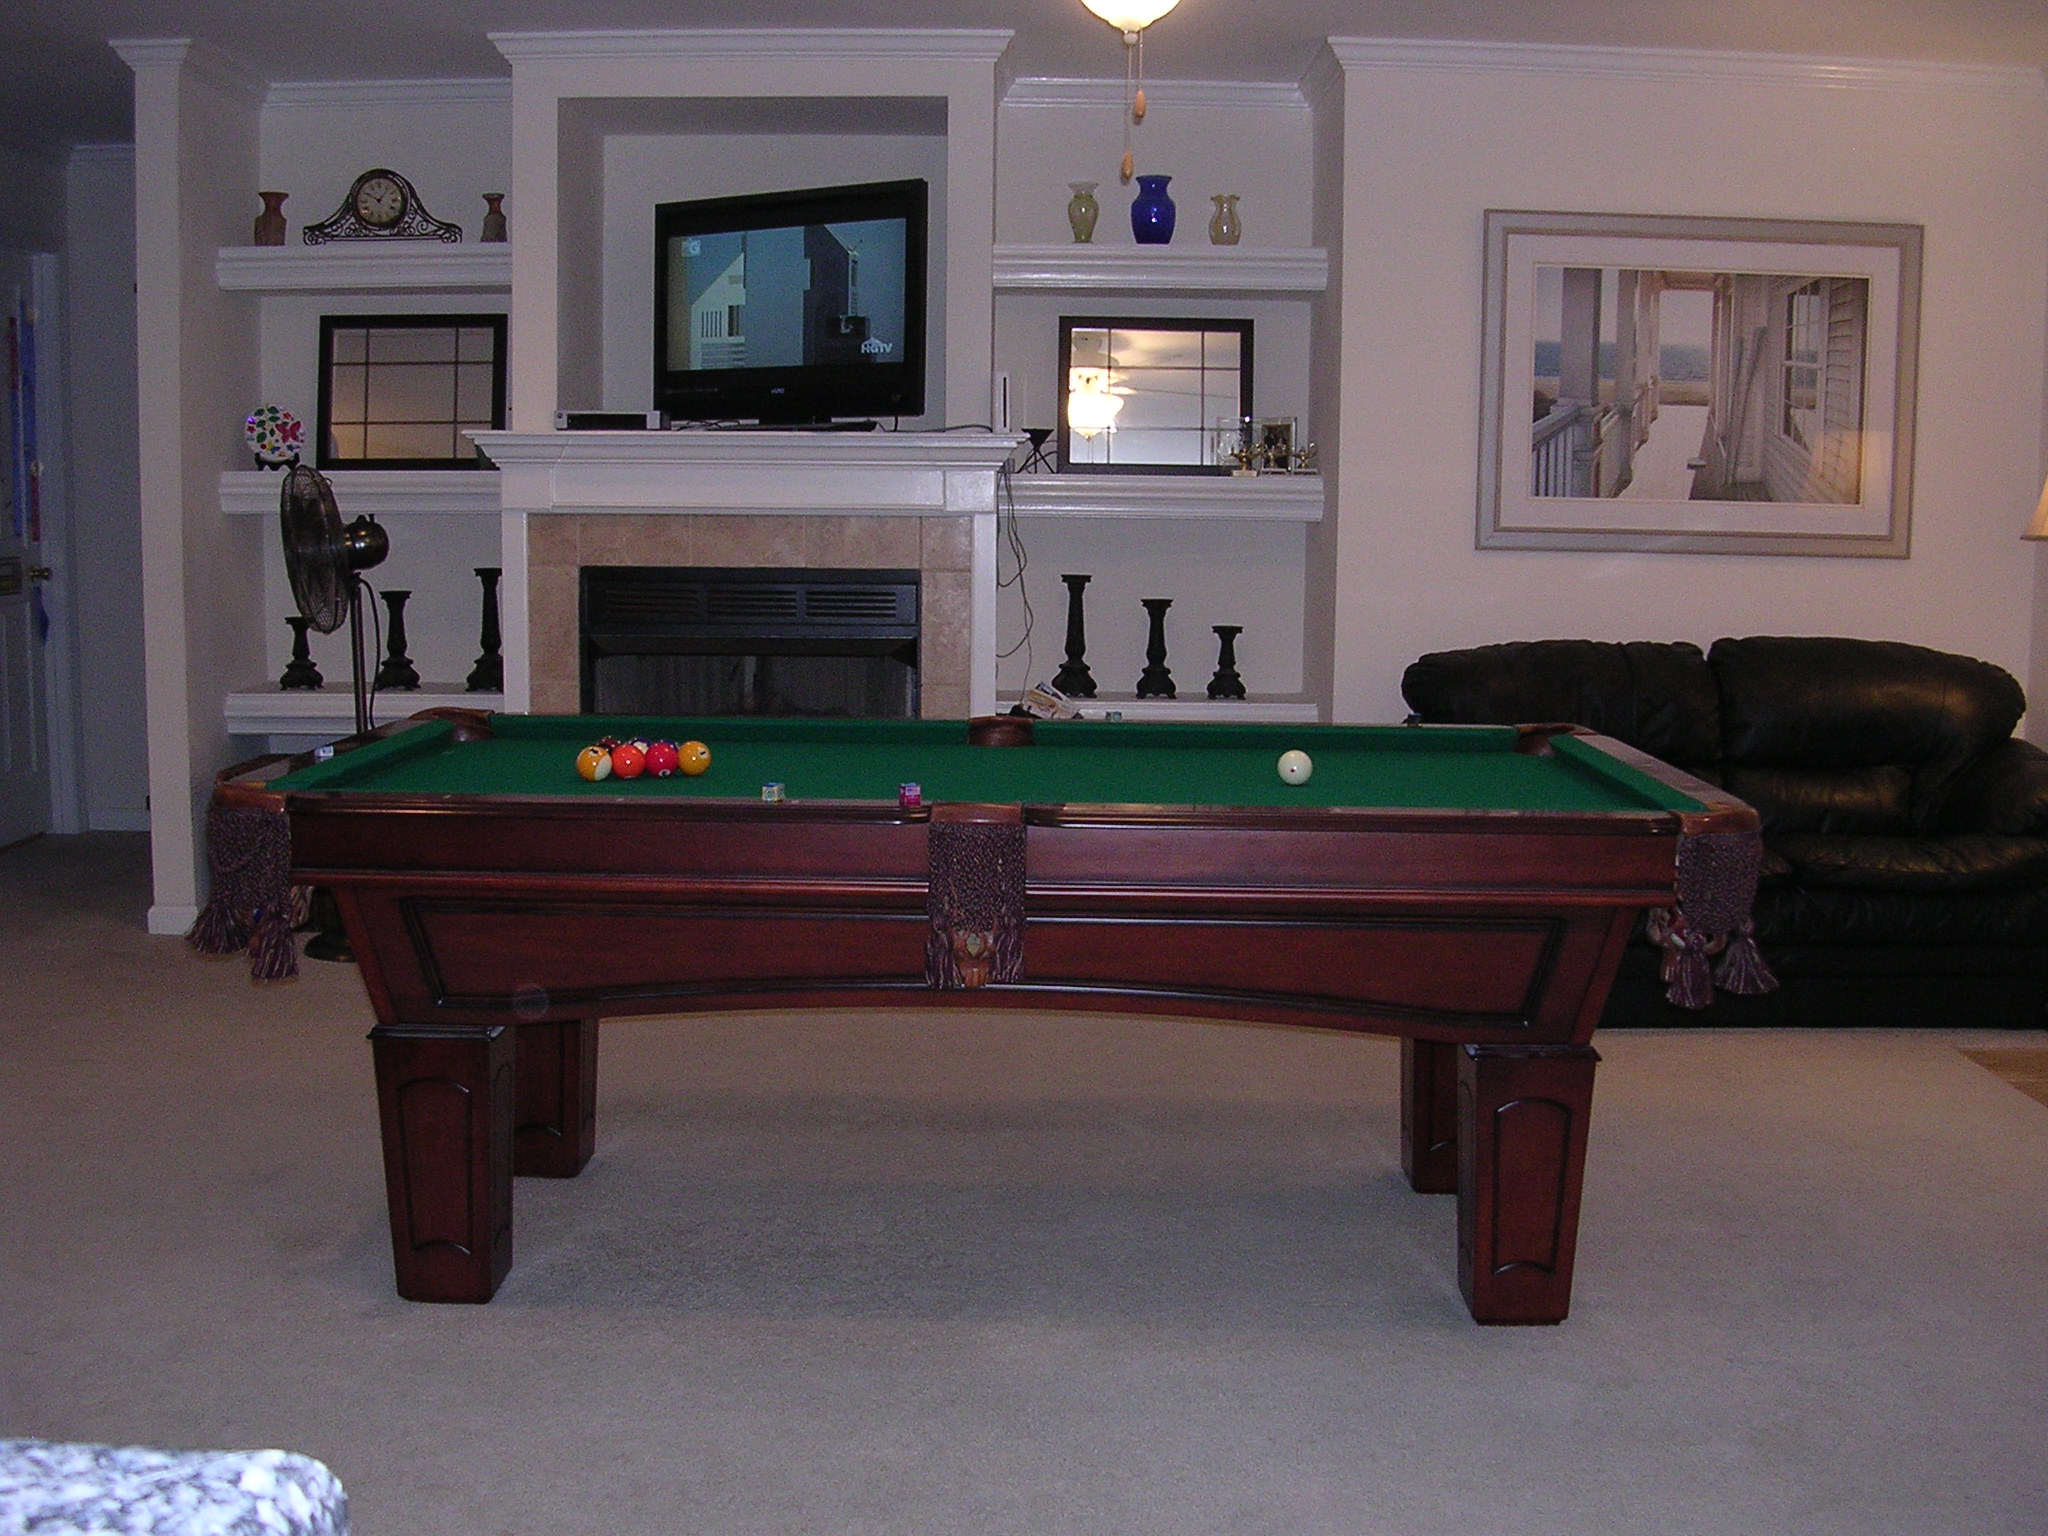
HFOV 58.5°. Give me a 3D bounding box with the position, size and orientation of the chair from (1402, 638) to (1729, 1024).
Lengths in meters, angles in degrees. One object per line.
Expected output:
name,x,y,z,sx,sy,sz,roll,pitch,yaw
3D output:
chair,1.784,0.126,5.859,0.992,1.184,1.084,0,8,-1

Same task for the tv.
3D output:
tv,-0.786,-1.554,6.214,0.942,0.689,0.130,1,3,17

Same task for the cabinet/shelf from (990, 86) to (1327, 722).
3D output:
cabinet/shelf,0.473,-1.344,6.580,1.178,2.174,0.650,0,14,1

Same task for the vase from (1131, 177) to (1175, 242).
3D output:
vase,0.461,-1.948,6.406,0.165,0.235,0.192,-1,14,-7
